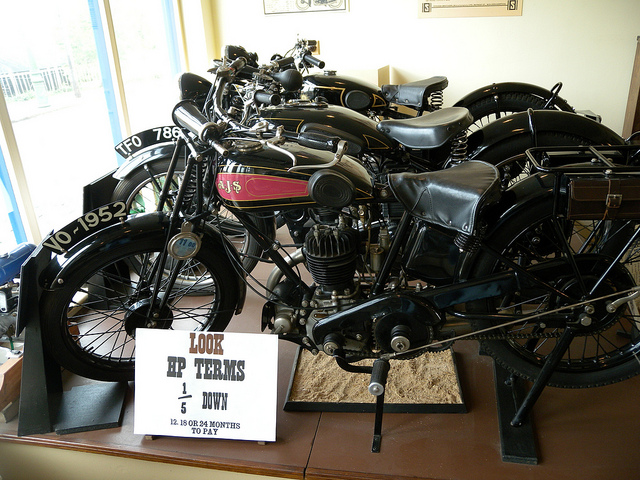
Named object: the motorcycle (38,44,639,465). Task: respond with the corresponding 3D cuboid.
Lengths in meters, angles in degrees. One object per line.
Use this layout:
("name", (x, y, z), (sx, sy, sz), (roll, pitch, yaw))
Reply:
("motorcycle", (0.303, -0.033, 2.956), (3.723, 1.852, 1.491), (1, 29, 4))
